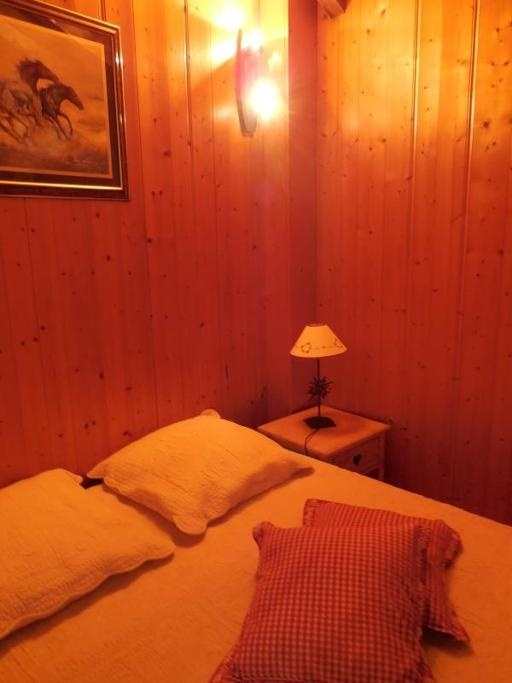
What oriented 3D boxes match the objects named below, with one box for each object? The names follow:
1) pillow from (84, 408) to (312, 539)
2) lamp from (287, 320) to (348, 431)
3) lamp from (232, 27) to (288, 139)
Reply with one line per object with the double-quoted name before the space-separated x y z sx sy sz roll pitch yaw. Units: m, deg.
"pillow" -0.153 0.415 1.823 0.403 0.145 0.399 -22 27 -39
"lamp" 0.291 0.154 2.586 0.237 0.508 0.259 -10 22 -20
"lamp" -0.020 -1.099 2.359 0.291 0.408 0.114 3 17 7
